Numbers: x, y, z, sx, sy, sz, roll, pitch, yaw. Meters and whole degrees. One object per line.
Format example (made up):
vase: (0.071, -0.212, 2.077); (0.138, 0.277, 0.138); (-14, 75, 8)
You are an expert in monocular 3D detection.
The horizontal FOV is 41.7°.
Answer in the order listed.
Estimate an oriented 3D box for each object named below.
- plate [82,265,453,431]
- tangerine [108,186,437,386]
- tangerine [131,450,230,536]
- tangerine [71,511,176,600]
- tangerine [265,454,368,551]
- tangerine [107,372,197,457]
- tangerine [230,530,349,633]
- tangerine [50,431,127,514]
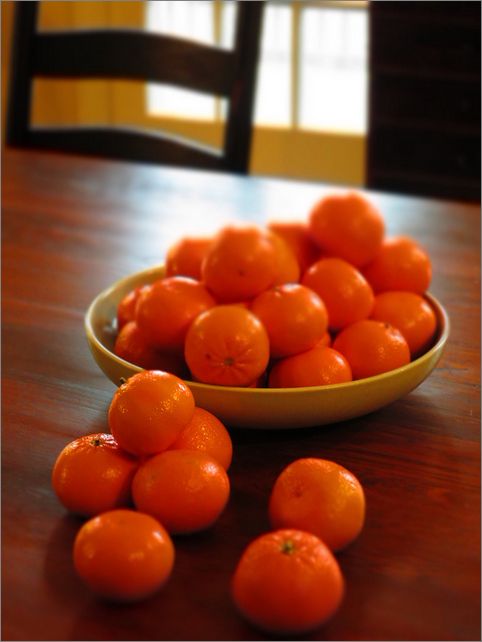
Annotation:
plate: (0.005, 0.018, 0.553); (0.324, 0.071, 0.241); (9, 18, 17)
tangerine: (0.027, -0.020, 0.527); (0.224, 0.104, 0.209); (7, 15, 41)
tangerine: (-0.040, 0.106, 0.398); (0.072, 0.050, 0.058); (-7, -9, 40)
tangerine: (-0.063, 0.125, 0.336); (0.052, 0.033, 0.040); (5, 18, 2)
tangerine: (0.045, 0.113, 0.390); (0.065, 0.057, 0.064); (3, -1, -18)
tangerine: (-0.045, 0.054, 0.431); (0.049, 0.053, 0.053); (47, 1, 3)
tangerine: (0.024, 0.132, 0.320); (0.051, 0.036, 0.044); (12, 20, 21)
tangerine: (-0.093, 0.100, 0.412); (0.062, 0.045, 0.057); (-3, 2, 9)
